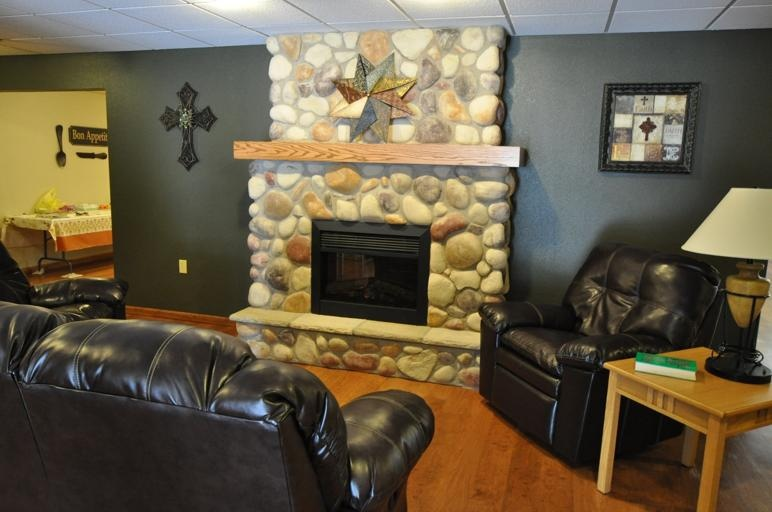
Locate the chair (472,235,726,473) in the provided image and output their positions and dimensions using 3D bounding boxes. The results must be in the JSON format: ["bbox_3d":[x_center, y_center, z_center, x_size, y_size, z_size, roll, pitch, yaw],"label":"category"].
[{"bbox_3d":[1.450,0.570,3.924,1.355,1.078,1.301,-11,15,-36],"label":"chair"}]

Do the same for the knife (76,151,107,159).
[{"bbox_3d":[-4.342,-1.486,8.197,0.110,0.108,0.636,8,8,21],"label":"knife"}]

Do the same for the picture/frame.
[{"bbox_3d":[2.120,-1.052,4.390,0.776,0.750,0.076,3,11,14],"label":"picture/frame"}]
